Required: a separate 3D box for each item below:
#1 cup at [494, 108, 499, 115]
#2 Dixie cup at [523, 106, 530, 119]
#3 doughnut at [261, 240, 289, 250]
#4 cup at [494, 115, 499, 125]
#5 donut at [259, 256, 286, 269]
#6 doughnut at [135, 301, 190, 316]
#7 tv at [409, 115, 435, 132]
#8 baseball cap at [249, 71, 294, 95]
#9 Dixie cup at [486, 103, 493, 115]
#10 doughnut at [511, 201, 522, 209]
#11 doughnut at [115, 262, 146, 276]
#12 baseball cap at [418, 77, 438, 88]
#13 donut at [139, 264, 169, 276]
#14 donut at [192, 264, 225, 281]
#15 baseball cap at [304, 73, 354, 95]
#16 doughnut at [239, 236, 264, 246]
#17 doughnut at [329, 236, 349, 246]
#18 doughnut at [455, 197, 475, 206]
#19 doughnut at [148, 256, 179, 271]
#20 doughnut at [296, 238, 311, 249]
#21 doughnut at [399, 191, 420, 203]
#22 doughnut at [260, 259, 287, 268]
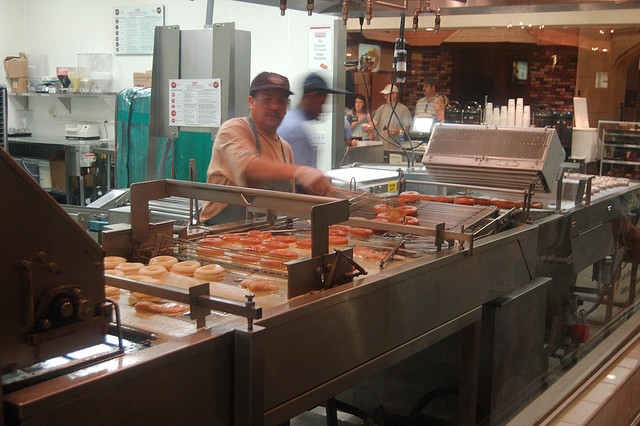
[{"bbox_3d":[1.994,-1.154,5.871,0.048,0.068,0.099,3,14,15],"label":"cup"},{"bbox_3d":[2.198,-1.074,5.552,0.053,0.122,0.141,4,14,20],"label":"Dixie cup"},{"bbox_3d":[-0.196,0.139,2.249,0.096,0.023,0.124,-11,17,-37],"label":"doughnut"},{"bbox_3d":[1.971,-1.048,5.805,0.048,0.095,0.107,3,13,15],"label":"cup"},{"bbox_3d":[-0.185,0.195,2.037,0.104,0.016,0.118,-2,13,-7],"label":"donut"},{"bbox_3d":[-0.512,0.314,1.691,0.107,0.018,0.065,7,8,17],"label":"doughnut"},{"bbox_3d":[1.473,-1.279,7.464,0.331,0.208,0.498,2,13,12],"label":"tv"},{"bbox_3d":[-0.301,-0.818,3.271,0.276,0.137,0.166,-2,13,-6],"label":"baseball cap"},{"bbox_3d":[2.031,-1.254,6.224,0.072,0.128,0.189,3,13,14],"label":"Dixie cup"},{"bbox_3d":[1.107,-0.044,2.918,0.066,0.050,0.069,3,12,15],"label":"doughnut"},{"bbox_3d":[-0.717,0.215,1.950,0.100,0.027,0.088,-1,13,-4],"label":"doughnut"},{"bbox_3d":[1.677,-2.038,8.094,0.272,0.132,0.169,-5,11,-15],"label":"baseball cap"},{"bbox_3d":[-0.621,0.215,1.932,0.098,0.016,0.098,-6,14,-22],"label":"donut"},{"bbox_3d":[-0.422,0.220,1.961,0.115,0.042,0.168,-4,14,-15],"label":"donut"},{"bbox_3d":[0.027,-0.851,3.409,0.138,0.114,0.391,4,14,20],"label":"baseball cap"},{"bbox_3d":[-0.307,0.126,2.300,0.107,0.023,0.080,-1,13,-1],"label":"doughnut"},{"bbox_3d":[0.082,0.127,2.374,0.098,0.042,0.065,-7,15,-27],"label":"doughnut"},{"bbox_3d":[0.846,-0.073,3.063,0.119,0.033,0.109,-9,16,-33],"label":"doughnut"},{"bbox_3d":[-0.610,0.194,2.053,0.065,0.024,0.065,3,7,21],"label":"doughnut"},{"bbox_3d":[-0.071,0.136,2.293,0.046,0.028,0.102,-6,14,-23],"label":"doughnut"},{"bbox_3d":[0.506,-0.091,2.924,0.094,0.064,0.216,3,14,16],"label":"doughnut"},{"bbox_3d":[-0.182,0.196,2.028,0.111,0.012,0.058,3,14,15],"label":"doughnut"}]
